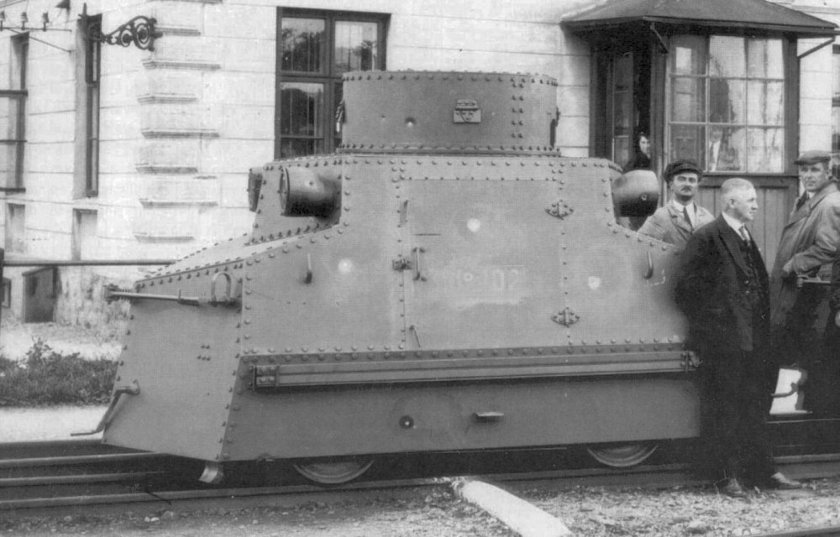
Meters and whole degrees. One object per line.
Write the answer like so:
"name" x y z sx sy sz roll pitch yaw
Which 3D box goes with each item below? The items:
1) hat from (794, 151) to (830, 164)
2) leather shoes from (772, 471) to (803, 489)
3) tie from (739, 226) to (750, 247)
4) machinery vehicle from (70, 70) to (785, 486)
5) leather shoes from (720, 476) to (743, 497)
"hat" 4.847 -1.359 19.359 0.367 0.110 0.279 -3 1 -20
"leather shoes" 4.394 2.555 18.876 0.261 0.101 0.249 0 0 -2
"tie" 3.847 -0.379 18.680 0.057 0.221 0.205 -15 6 31
"machinery vehicle" 0.021 0.063 20.015 8.433 4.635 3.474 0 4 -36
"leather shoes" 3.712 2.592 18.726 0.240 0.145 0.226 2 1 -28
